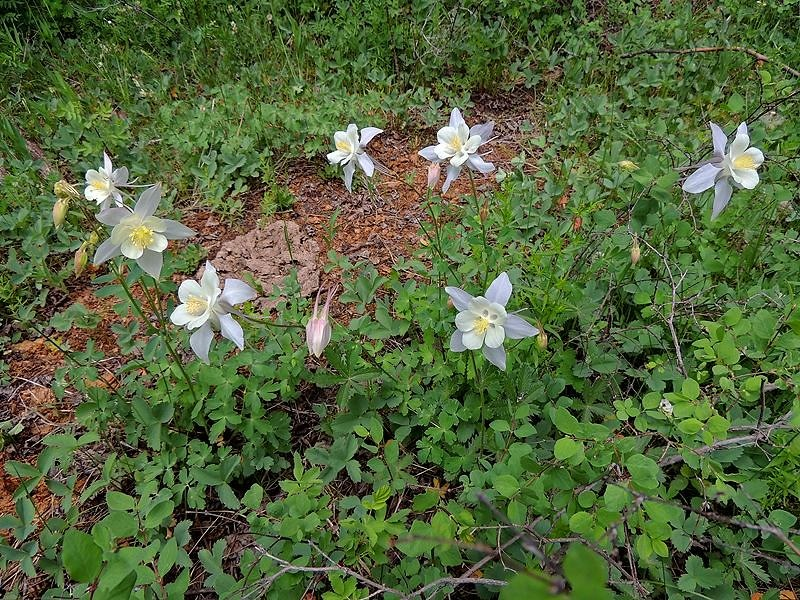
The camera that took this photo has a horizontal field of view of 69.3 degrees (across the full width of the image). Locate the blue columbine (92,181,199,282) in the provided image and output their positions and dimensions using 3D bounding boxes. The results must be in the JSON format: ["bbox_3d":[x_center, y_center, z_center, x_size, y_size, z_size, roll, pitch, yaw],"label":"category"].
[{"bbox_3d":[-1.435,-0.393,3.093,0.455,0.437,0.153,-31,70,10],"label":"blue columbine"}]

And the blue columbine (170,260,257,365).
[{"bbox_3d":[-1.023,0.060,3.067,0.484,0.505,0.182,33,24,29],"label":"blue columbine"}]

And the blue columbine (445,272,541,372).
[{"bbox_3d":[0.437,0.119,2.898,0.402,0.138,0.505,-8,43,-18],"label":"blue columbine"}]

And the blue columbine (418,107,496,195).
[{"bbox_3d":[0.355,-0.837,3.341,0.133,0.496,0.490,3,87,-29],"label":"blue columbine"}]
